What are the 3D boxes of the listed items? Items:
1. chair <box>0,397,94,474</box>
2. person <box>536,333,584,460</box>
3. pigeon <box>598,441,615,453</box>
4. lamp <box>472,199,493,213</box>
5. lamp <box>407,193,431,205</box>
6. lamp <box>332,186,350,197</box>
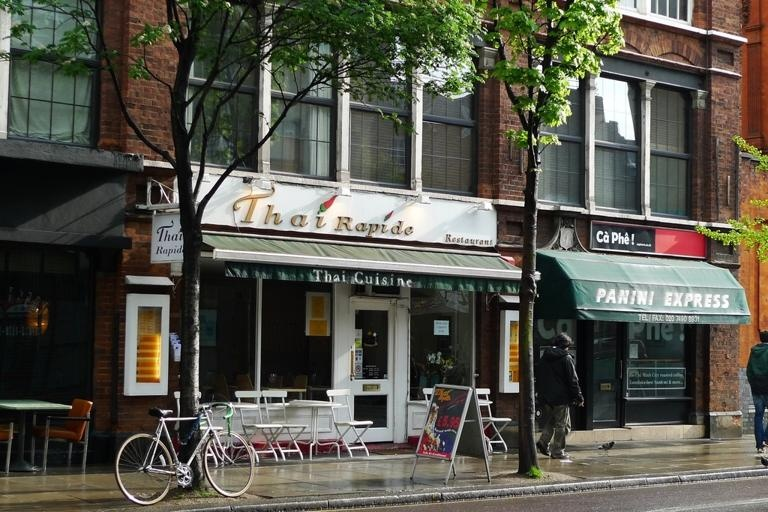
[{"bbox_3d":[-6.308,3.328,21.964,1.765,1.302,1.344,9,-11,-32],"label":"chair"},{"bbox_3d":[3.679,2.908,24.306,1.048,2.557,0.662,4,4,20],"label":"person"},{"bbox_3d":[5.119,4.246,26.256,0.406,0.218,0.158,12,-9,-10],"label":"pigeon"},{"bbox_3d":[2.326,-1.140,26.302,0.519,0.258,0.153,0,5,-36],"label":"lamp"},{"bbox_3d":[0.820,-1.259,25.611,0.549,0.244,0.123,0,5,-30],"label":"lamp"},{"bbox_3d":[-0.876,-1.377,24.783,0.293,0.177,0.276,1,1,1],"label":"lamp"}]
